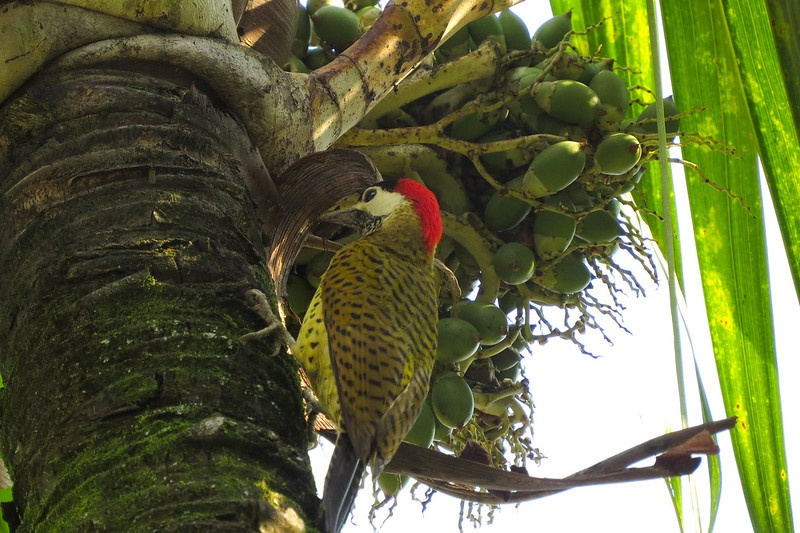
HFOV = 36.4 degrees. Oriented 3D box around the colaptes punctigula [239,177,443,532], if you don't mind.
[{"bbox_3d":[-0.098,0.220,3.260,0.397,1.267,0.729,4,-39,2],"label":"colaptes punctigula"}]
